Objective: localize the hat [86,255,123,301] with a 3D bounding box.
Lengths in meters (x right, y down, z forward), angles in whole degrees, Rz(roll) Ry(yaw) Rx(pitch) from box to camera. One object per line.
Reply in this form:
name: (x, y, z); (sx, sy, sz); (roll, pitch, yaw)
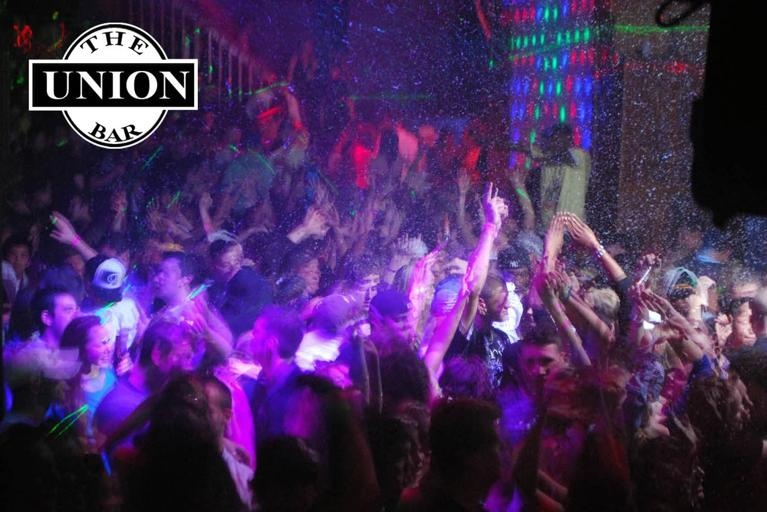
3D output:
hat: (-1.959, 0.177, 4.945); (0.248, 0.333, 0.319); (12, -10, -18)
